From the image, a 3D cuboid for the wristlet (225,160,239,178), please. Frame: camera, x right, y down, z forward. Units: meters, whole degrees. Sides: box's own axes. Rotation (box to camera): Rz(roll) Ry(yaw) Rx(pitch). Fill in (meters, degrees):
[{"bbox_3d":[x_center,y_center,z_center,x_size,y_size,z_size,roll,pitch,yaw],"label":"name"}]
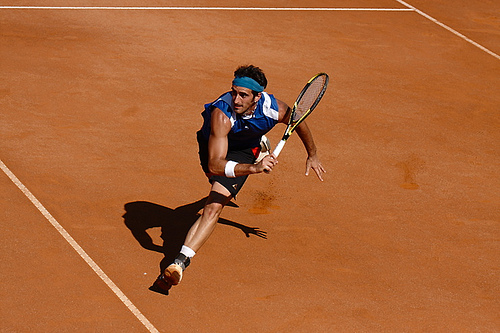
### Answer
[{"bbox_3d":[-0.239,0.025,8.461,0.131,0.190,0.191,-1,54,0],"label":"wristlet"}]
